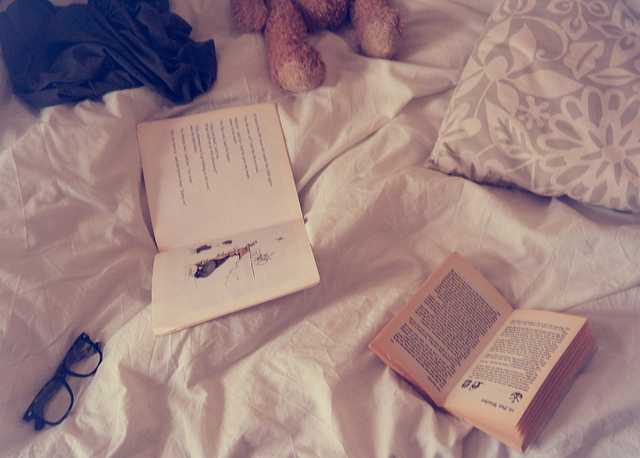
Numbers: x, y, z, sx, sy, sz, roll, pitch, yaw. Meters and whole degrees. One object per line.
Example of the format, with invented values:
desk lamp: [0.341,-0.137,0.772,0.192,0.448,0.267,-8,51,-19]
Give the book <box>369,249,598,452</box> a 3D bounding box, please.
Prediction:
book: [0.313,0.214,1.109,0.366,0.101,0.297,36,82,14]

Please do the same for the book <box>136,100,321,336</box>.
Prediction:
book: [-0.206,-0.047,1.240,0.335,0.090,0.449,-16,74,2]
